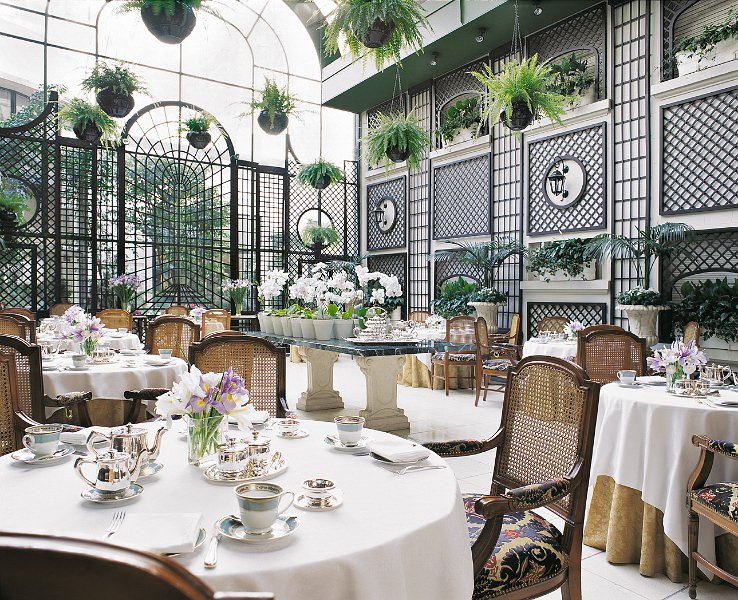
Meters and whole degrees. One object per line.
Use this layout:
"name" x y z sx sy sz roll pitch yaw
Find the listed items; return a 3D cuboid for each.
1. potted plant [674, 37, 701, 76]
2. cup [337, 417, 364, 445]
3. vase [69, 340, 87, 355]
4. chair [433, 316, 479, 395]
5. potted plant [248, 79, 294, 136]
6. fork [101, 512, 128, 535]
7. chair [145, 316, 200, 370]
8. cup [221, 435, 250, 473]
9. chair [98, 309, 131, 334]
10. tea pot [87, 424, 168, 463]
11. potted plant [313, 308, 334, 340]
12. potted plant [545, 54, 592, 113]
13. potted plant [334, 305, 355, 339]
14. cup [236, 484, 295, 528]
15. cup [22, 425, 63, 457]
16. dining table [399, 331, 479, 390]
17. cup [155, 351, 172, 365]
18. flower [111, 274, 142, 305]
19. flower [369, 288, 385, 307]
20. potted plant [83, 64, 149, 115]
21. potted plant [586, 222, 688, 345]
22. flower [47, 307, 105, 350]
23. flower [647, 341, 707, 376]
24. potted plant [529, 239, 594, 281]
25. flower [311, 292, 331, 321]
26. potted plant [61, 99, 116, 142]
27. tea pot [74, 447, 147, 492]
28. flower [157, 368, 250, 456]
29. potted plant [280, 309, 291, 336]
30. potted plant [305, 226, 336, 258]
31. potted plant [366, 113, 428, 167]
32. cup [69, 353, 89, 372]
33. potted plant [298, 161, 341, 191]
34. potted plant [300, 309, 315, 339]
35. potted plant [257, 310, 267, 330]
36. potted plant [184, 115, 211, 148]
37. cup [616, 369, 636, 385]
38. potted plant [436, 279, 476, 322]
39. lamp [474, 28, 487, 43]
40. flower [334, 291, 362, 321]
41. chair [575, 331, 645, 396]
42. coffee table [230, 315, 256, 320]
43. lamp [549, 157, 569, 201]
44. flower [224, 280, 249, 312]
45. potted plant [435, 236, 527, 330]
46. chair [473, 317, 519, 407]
"potted plant" 3.494 -2.669 6.921 0.137 0.356 0.393 0 4 -2
"cup" -0.069 0.468 2.220 0.083 0.079 0.087 1 6 0
"vase" -2.027 0.334 4.384 0.089 0.102 0.089 4 -7 -28
"chair" 1.059 0.648 7.404 0.541 0.928 0.621 2 1 26
"potted plant" -1.160 -2.395 7.655 0.528 0.687 0.345 2 5 22
"fork" -0.655 0.588 1.631 0.027 0.018 0.122 -11 18 9
"chair" -1.444 0.325 4.601 0.293 0.606 0.299 2 -2 -17
"cup" -0.439 0.502 2.052 0.087 0.131 0.089 1 2 0
"chair" -2.658 0.241 6.568 0.200 0.388 0.218 0 -4 -6
"tea pot" -0.758 0.460 1.978 0.241 0.126 0.100 2 -4 -27
"potted plant" -0.391 0.237 5.466 0.175 0.164 0.175 1 -4 -21
"potted plant" 2.572 -2.832 8.134 0.538 0.715 0.600 -8 11 -31
"potted plant" -0.206 0.212 5.696 0.216 0.376 0.270 2 -4 0
"cup" -0.282 0.573 1.695 0.154 0.113 0.142 1 -1 0
"cup" -1.095 0.462 2.104 0.090 0.082 0.101 5 4 35
"dining table" 0.951 0.711 7.927 0.701 1.047 0.766 2 -3 -34
"cup" -1.386 0.397 4.241 0.079 0.074 0.083 -3 -4 0
"flower" -3.649 -0.129 9.391 0.441 0.507 0.519 -2 5 -24
"flower" 0.056 -0.018 5.352 0.127 0.148 0.051 4 29 -22
"potted plant" -2.881 -2.398 7.067 0.595 0.634 0.410 1 4 13
"potted plant" 3.067 -0.216 7.155 0.825 1.300 1.087 -1 5 -19
"flower" -2.266 0.231 4.831 0.359 0.441 0.373 0 -1 6
"flower" 1.619 0.326 3.394 0.262 0.174 0.270 -7 0 -32
"potted plant" 2.507 -0.519 8.070 0.380 0.538 1.166 -2 4 -26
"flower" -0.422 0.056 5.648 0.175 0.230 0.190 2 -5 -9
"potted plant" -3.637 -2.309 8.121 0.498 0.403 0.547 4 -5 -5
"tea pot" -0.769 0.504 1.856 0.200 0.109 0.117 -1 7 -15
"flower" -0.568 0.358 2.117 0.270 0.304 0.267 4 -6 -45
"potted plant" -0.797 0.250 5.996 0.150 0.185 0.154 0 -1 -14
"potted plant" -0.897 -1.091 11.812 0.524 0.602 0.537 1 0 -33
"potted plant" 0.331 -1.695 6.681 0.522 0.494 0.546 7 13 -2
"cup" -1.842 0.405 3.983 0.097 0.085 0.096 -1 -2 0
"potted plant" -0.834 -2.037 10.220 0.725 0.551 0.786 0 0 -5
"potted plant" -0.539 0.253 5.609 0.154 0.192 0.184 1 2 5
"potted plant" -1.101 0.216 6.510 0.162 0.214 0.178 -1 1 -10
"potted plant" -2.456 -2.386 9.100 0.372 0.422 0.386 1 -3 -32
"cup" 1.428 0.425 3.463 0.096 0.083 0.085 -4 2 -5
"potted plant" 1.302 -0.005 9.466 0.588 0.701 0.591 1 3 23
"lamp" 1.538 -3.666 8.692 0.102 0.183 0.111 11 42 20
"flower" -0.182 0.000 5.665 0.238 0.156 0.306 -15 -17 -21
"chair" 1.496 0.392 3.869 0.301 0.529 0.288 0 -2 3
"coffee table" -2.071 0.302 10.436 0.396 0.098 0.441 0 4 -8
"lamp" 2.492 -1.592 8.360 0.165 0.544 0.382 -3 6 -39
"flower" -2.218 -0.023 10.581 0.506 0.641 0.470 1 -2 -40
"potted plant" 1.579 -0.292 9.484 1.001 1.298 1.967 0 4 -7
"chair" 1.429 0.622 6.655 0.607 0.915 0.729 -2 3 -6
